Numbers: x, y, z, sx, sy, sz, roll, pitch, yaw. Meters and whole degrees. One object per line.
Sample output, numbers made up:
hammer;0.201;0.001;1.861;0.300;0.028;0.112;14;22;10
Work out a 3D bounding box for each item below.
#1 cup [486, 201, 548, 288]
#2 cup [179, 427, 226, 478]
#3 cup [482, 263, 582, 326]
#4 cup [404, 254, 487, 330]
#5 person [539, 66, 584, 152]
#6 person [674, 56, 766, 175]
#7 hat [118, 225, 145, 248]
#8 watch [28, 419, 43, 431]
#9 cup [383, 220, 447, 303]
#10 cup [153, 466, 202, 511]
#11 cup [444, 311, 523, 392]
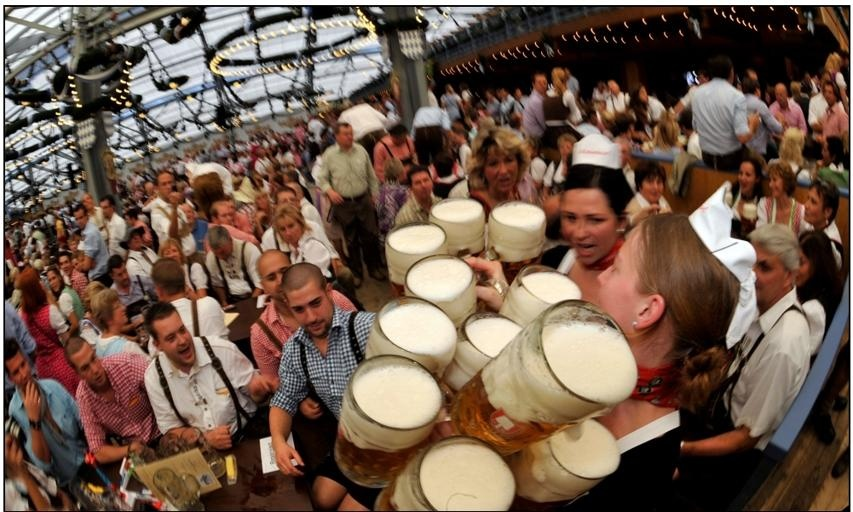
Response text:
cup;0.436;-0.070;2.533;0.378;0.371;0.238;12;34;34
cup;-1.207;1.125;3.058;0.213;0.229;0.210;-32;14;9
cup;0.455;0.187;2.297;0.271;0.268;0.284;13;36;-9
cup;0.090;0.123;2.262;0.293;0.281;0.287;-1;34;1
person;1.497;-1.669;5.955;0.459;0.870;0.779;-3;18;16
person;2.806;-1.270;5.060;0.560;0.924;0.299;5;22;34
hat;-2.897;-0.148;5.334;0.190;0.243;0.231;3;41;-18
watch;-2.368;1.031;3.240;0.056;0.052;0.055;1;-2;3
cup;-0.086;0.009;2.529;0.326;0.322;0.319;-2;15;1
cup;-1.328;1.255;2.838;0.213;0.228;0.154;-12;18;-15
cup;0.234;0.345;2.261;0.319;0.299;0.267;-10;30;-18
